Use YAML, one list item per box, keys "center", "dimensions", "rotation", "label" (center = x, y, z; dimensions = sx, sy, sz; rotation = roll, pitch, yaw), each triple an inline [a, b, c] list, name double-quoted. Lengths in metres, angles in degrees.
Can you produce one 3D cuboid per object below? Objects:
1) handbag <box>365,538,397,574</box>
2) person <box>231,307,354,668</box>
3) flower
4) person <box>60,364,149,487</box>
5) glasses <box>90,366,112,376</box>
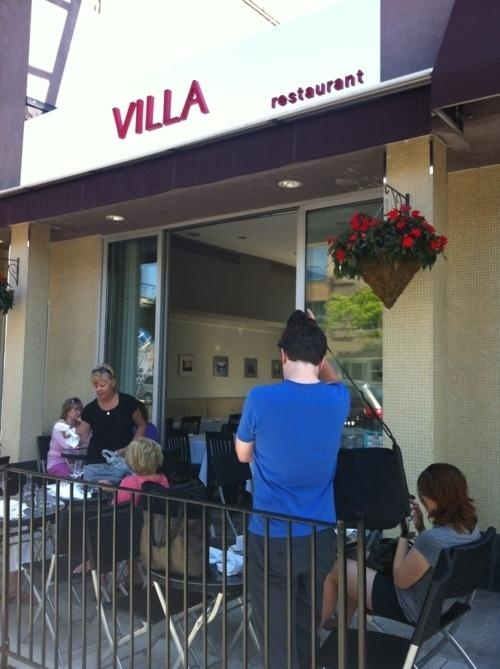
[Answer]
- center: [0.600, 1.001, 3.014]
  dimensions: [0.098, 0.051, 0.127]
  rotation: [12, 16, 19]
  label: "handbag"
- center: [0.144, 0.531, 2.337]
  dimensions: [0.377, 1.260, 0.579]
  rotation: [0, -3, 14]
  label: "person"
- center: [0.773, -0.518, 3.820]
  dimensions: [0.476, 0.313, 0.482]
  rotation: [1, 8, 44]
  label: "flower"
- center: [-1.128, 0.955, 5.185]
  dimensions: [0.631, 1.322, 0.416]
  rotation: [-7, 8, -36]
  label: "person"
- center: [-1.140, 0.294, 5.203]
  dimensions: [0.165, 0.080, 0.122]
  rotation: [2, -2, -14]
  label: "glasses"
